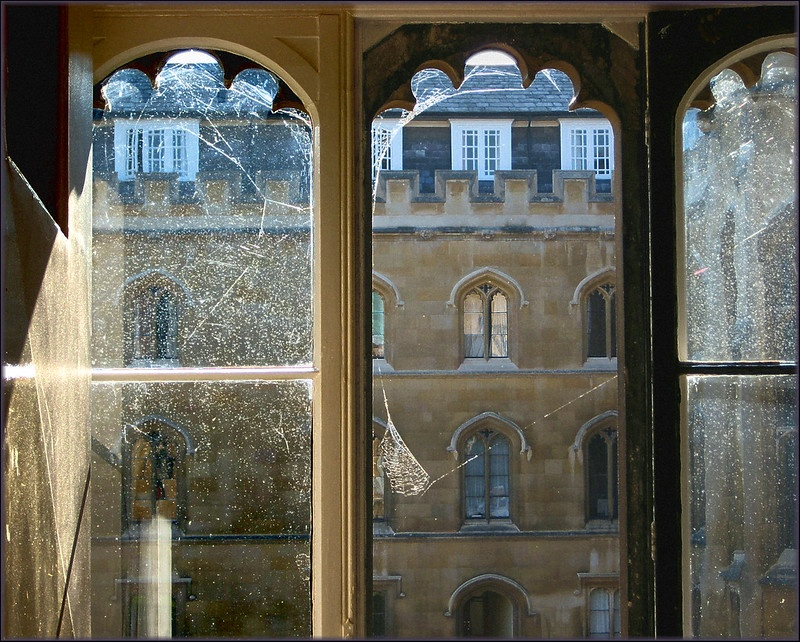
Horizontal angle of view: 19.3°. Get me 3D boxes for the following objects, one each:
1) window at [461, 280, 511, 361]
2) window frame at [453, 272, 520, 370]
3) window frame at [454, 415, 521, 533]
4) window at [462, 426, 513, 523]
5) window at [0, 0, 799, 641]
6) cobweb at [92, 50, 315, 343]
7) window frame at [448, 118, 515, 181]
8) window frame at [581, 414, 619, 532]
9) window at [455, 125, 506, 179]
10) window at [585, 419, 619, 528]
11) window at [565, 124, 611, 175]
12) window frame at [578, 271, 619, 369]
[{"bbox_3d":[0.595,0.020,16.349,0.361,0.624,0.031,-1,17,1],"label":"window"},{"bbox_3d":[0.595,0.020,16.345,0.416,0.656,0.047,0,-18,0],"label":"window frame"},{"bbox_3d":[0.598,1.119,16.363,0.386,0.806,0.079,0,-33,2],"label":"window frame"},{"bbox_3d":[0.602,1.104,16.387,0.364,0.780,0.048,-1,-36,2],"label":"window"},{"bbox_3d":[-0.002,0.099,10.574,3.614,3.812,0.251,0,-2,-5],"label":"window"},{"bbox_3d":[-0.807,-0.491,9.450,1.072,1.570,0.105,0,-3,-8],"label":"cobweb"},{"bbox_3d":[0.603,-1.277,17.737,0.458,0.503,0.063,1,-24,0],"label":"window frame"},{"bbox_3d":[1.445,1.071,16.210,0.322,0.800,0.062,-3,-15,24],"label":"window frame"},{"bbox_3d":[0.609,-1.278,17.778,0.412,0.466,0.024,1,30,6],"label":"window"},{"bbox_3d":[1.450,1.071,16.253,0.338,0.838,0.048,-1,-34,7],"label":"window"},{"bbox_3d":[1.416,-1.295,17.670,0.357,0.032,0.440,1,-42,5],"label":"window"},{"bbox_3d":[1.452,-0.009,16.436,0.436,0.613,0.046,0,-4,-23],"label":"window frame"}]
